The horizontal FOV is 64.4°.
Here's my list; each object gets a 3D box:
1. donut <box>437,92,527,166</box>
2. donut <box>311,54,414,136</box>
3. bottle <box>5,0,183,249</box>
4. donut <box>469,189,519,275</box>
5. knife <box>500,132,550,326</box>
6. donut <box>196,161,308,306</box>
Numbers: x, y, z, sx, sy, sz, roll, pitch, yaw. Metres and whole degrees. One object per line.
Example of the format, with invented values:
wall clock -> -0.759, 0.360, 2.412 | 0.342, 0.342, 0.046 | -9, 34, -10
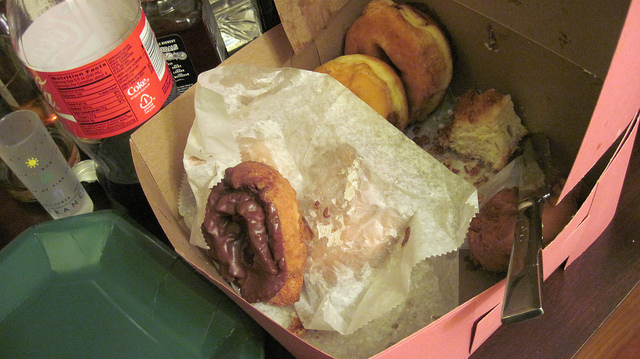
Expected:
donut -> 0.442, -0.140, 1.379 | 0.218, 0.151, 0.122 | 21, 47, 25
donut -> 0.123, -0.209, 1.386 | 0.267, 0.217, 0.147 | 4, 42, 8
bottle -> -0.563, -0.149, 1.364 | 0.373, 0.539, 0.455 | -14, 43, -11
donut -> 0.435, 0.129, 1.223 | 0.142, 0.054, 0.179 | -25, 61, 37
knife -> 0.448, 0.045, 1.129 | 0.130, 0.036, 0.542 | -5, 45, 28
donut -> -0.122, 0.115, 1.280 | 0.266, 0.109, 0.328 | -32, 83, 20
